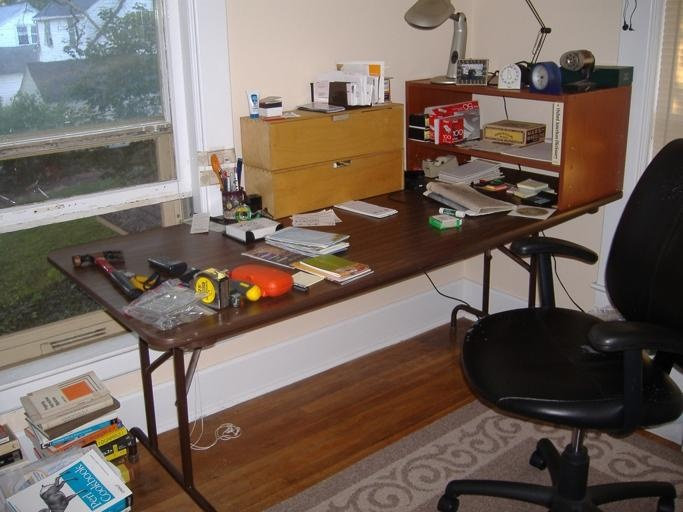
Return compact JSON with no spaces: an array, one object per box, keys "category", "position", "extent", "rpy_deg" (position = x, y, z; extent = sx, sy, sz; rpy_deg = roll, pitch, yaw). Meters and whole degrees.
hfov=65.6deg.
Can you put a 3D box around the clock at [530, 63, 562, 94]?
[{"category":"clock","position":[0.887,-0.783,2.314],"extent":[0.099,0.123,0.150],"rpy_deg":[-5,24,-1]}]

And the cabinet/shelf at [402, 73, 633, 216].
[{"category":"cabinet/shelf","position":[0.876,-0.645,2.767],"extent":[0.557,0.460,1.002],"rpy_deg":[-15,26,-29]}]

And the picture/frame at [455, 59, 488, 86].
[{"category":"picture/frame","position":[0.647,-0.920,2.647],"extent":[0.149,0.116,0.020],"rpy_deg":[6,7,26]}]

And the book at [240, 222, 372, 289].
[{"category":"book","position":[-0.137,0.003,1.932],"extent":[0.377,0.085,0.270],"rpy_deg":[-12,27,-31]}]

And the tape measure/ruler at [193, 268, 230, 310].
[{"category":"tape measure/ruler","position":[-0.420,0.101,1.704],"extent":[0.133,0.121,0.053],"rpy_deg":[6,11,41]}]

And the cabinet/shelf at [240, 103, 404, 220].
[{"category":"cabinet/shelf","position":[-0.084,-0.491,2.564],"extent":[0.804,0.403,0.282],"rpy_deg":[-18,26,-38]}]

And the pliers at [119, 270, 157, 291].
[{"category":"pliers","position":[-0.685,0.079,1.812],"extent":[0.087,0.032,0.086],"rpy_deg":[18,26,28]}]
